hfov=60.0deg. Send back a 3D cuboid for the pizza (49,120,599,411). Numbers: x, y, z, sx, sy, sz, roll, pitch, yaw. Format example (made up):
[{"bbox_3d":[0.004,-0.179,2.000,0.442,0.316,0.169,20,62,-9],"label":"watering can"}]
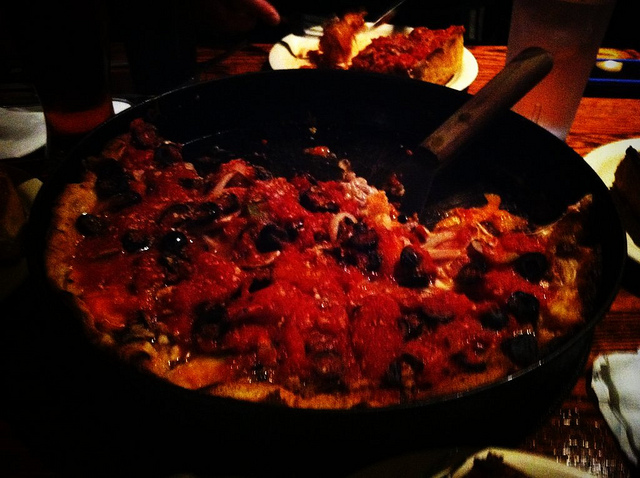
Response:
[{"bbox_3d":[0.006,0.020,1.012,0.985,0.146,0.574,8,42,1],"label":"pizza"}]

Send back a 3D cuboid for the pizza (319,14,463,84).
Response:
[{"bbox_3d":[0.209,-0.578,1.644,0.420,0.129,0.311,4,42,-2],"label":"pizza"}]
